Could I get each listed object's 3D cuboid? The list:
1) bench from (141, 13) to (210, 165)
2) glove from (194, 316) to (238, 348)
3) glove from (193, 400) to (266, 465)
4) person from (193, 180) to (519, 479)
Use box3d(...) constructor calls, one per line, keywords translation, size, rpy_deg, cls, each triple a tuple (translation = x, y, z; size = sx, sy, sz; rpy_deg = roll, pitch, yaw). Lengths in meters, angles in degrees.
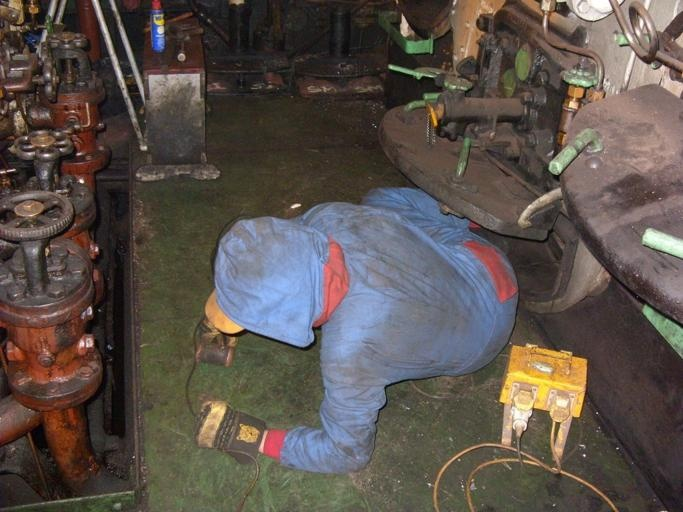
box3d(translation=(-1.241, -1.161, 4.427), size=(0.467, 0.852, 0.710), rpy_deg=(-7, 29, -12), cls="bench")
box3d(translation=(-0.671, 0.408, 3.125), size=(0.159, 0.041, 0.170), rpy_deg=(-1, 33, -32), cls="glove")
box3d(translation=(-0.509, 0.820, 2.742), size=(0.295, 0.119, 0.229), rpy_deg=(20, 74, -1), cls="glove")
box3d(translation=(0.057, 0.315, 2.747), size=(1.522, 1.151, 0.716), rpy_deg=(-17, 32, -28), cls="person")
